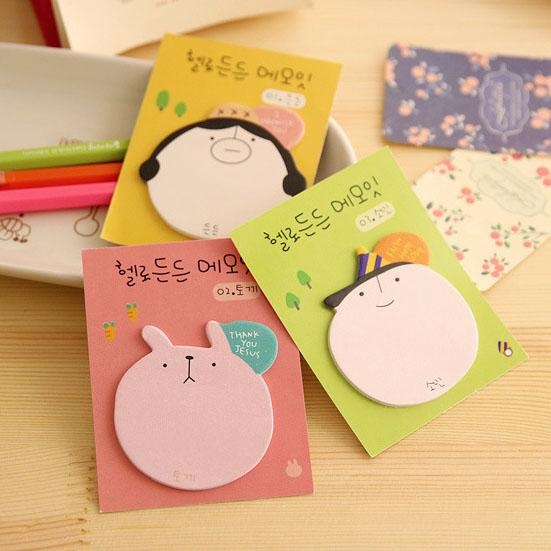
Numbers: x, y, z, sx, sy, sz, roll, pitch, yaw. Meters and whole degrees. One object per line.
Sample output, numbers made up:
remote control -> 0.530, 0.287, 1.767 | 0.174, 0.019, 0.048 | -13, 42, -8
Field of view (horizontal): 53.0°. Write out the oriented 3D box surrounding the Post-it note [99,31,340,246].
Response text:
Post-it note -> -0.064, -0.154, 0.502 | 0.223, 0.027, 0.255 | 12, 75, 5
